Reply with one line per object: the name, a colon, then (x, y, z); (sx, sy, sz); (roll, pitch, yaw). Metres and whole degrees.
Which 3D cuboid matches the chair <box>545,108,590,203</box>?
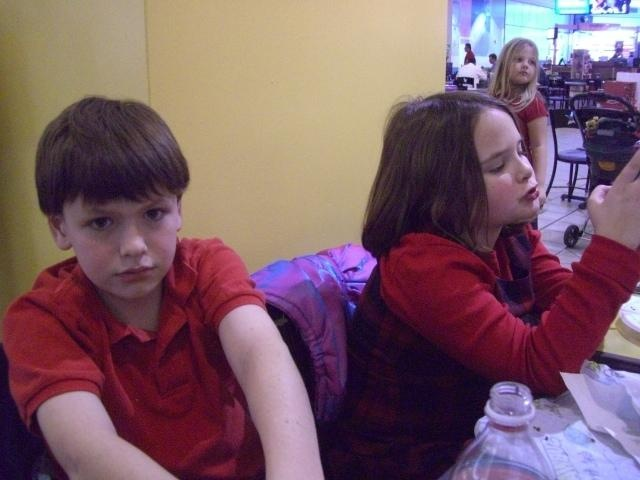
chair: (2.211, -0.738, 4.690); (0.391, 0.825, 0.407); (-1, -8, -1)
